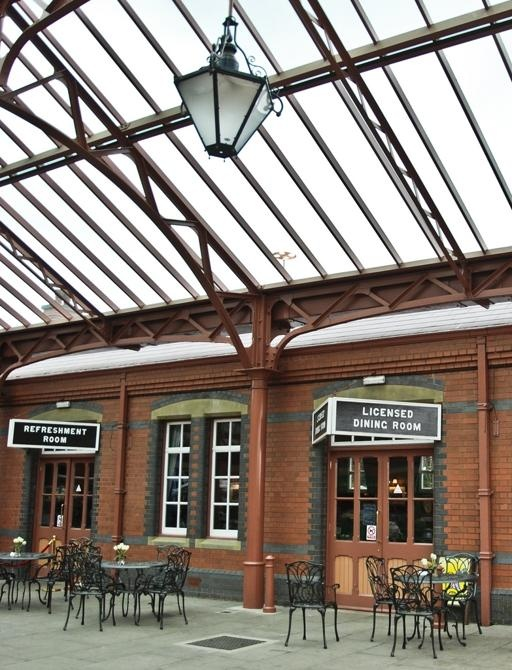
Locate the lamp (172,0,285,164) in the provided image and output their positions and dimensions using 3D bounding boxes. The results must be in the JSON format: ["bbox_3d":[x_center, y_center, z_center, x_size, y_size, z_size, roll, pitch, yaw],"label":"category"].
[{"bbox_3d":[-0.136,-1.387,3.265,0.427,1.111,0.507,-6,-19,22],"label":"lamp"}]
